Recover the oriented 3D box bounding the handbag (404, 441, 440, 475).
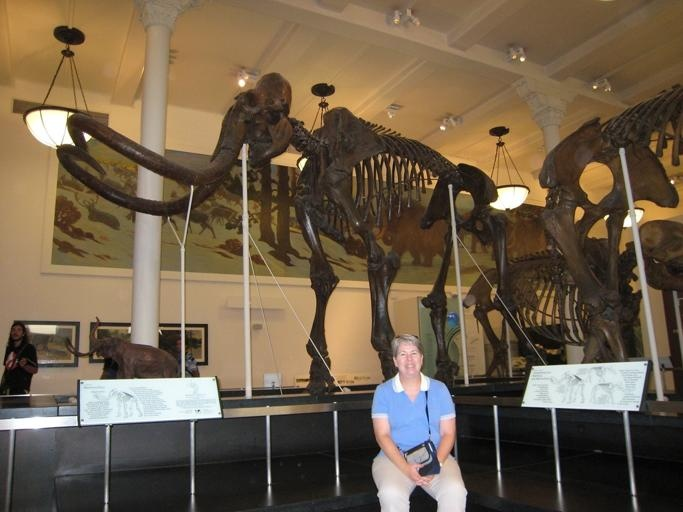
[{"bbox_3d":[0.536,1.312,3.572,0.190,0.227,0.081,-32,-30,16],"label":"handbag"}]
